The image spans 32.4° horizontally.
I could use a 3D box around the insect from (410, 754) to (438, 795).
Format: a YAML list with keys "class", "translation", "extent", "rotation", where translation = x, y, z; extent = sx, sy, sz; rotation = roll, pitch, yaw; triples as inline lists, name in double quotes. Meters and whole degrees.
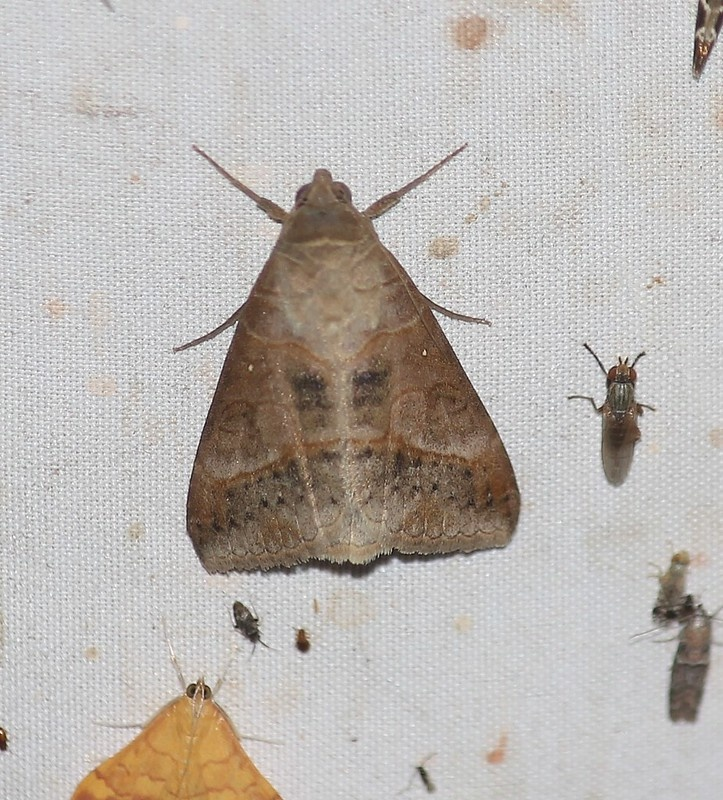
- class: "insect"
  translation: [0.176, 1.052, 3.495]
  extent: [0.074, 0.028, 0.083]
  rotation: [-26, 92, 3]

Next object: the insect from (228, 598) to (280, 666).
- class: "insect"
  translation: [-0.314, 0.638, 3.457]
  extent: [0.078, 0.029, 0.151]
  rotation: [-35, 86, -12]

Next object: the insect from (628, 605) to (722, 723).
- class: "insect"
  translation: [0.925, 0.752, 3.534]
  extent: [0.206, 0.079, 0.262]
  rotation: [10, 96, 1]

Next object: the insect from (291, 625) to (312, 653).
- class: "insect"
  translation: [-0.176, 0.675, 3.505]
  extent: [0.054, 0.016, 0.063]
  rotation: [-3, 94, 2]
